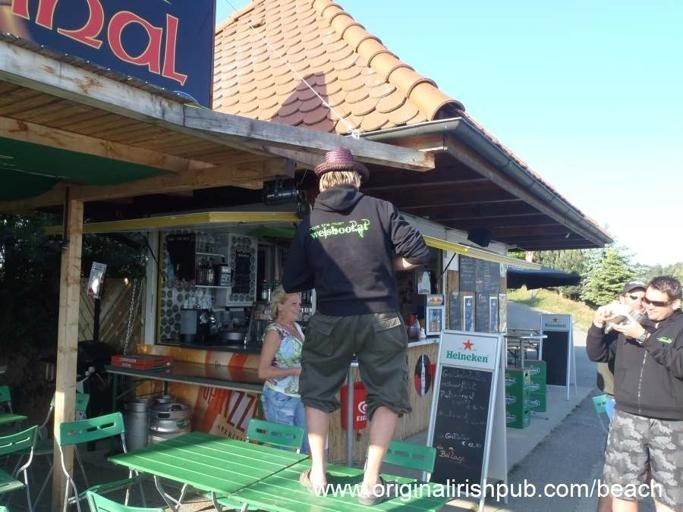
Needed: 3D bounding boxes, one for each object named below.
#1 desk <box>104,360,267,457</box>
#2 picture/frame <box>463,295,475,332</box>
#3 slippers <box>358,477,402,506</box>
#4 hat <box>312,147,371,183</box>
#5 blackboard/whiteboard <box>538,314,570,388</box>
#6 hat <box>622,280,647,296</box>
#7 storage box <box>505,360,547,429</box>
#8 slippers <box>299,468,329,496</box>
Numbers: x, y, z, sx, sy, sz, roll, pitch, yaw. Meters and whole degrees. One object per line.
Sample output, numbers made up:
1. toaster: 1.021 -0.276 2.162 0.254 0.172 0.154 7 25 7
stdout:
1. desk: -1.648 1.672 6.403 1.396 0.702 0.554 -2 -10 32
2. picture/frame: 2.539 1.156 11.679 0.057 0.876 0.725 2 -1 30
3. slippers: 0.258 1.598 4.002 0.115 0.140 0.316 -1 -5 33
4. hat: 0.010 -0.710 4.463 0.443 0.203 0.503 -1 -4 15
5. blackboard/whiteboard: 4.386 1.904 11.980 0.699 1.562 0.990 8 2 21
6. hat: 2.798 0.309 5.670 0.169 0.129 0.281 2 -7 18
7. storage box: 2.933 2.243 9.251 0.481 0.900 1.376 -4 -4 26
8. slippers: -0.184 1.574 4.056 0.084 0.101 0.229 5 1 -30
